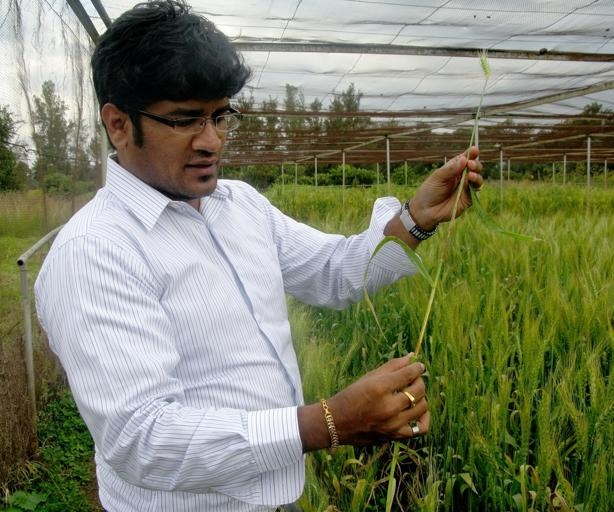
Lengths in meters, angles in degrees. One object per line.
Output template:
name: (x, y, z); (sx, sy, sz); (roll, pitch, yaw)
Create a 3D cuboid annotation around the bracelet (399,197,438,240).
bracelet: (0.407, -0.134, 2.079); (0.054, 0.131, 0.143); (-32, 47, -9)

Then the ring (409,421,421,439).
ring: (0.330, 0.534, 1.691); (0.037, 0.039, 0.041); (-1, -30, -15)

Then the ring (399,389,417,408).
ring: (0.300, 0.411, 1.605); (0.017, 0.049, 0.034); (-16, 0, -12)

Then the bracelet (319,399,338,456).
bracelet: (0.067, 0.485, 1.569); (0.030, 0.128, 0.084); (-10, -6, 1)
